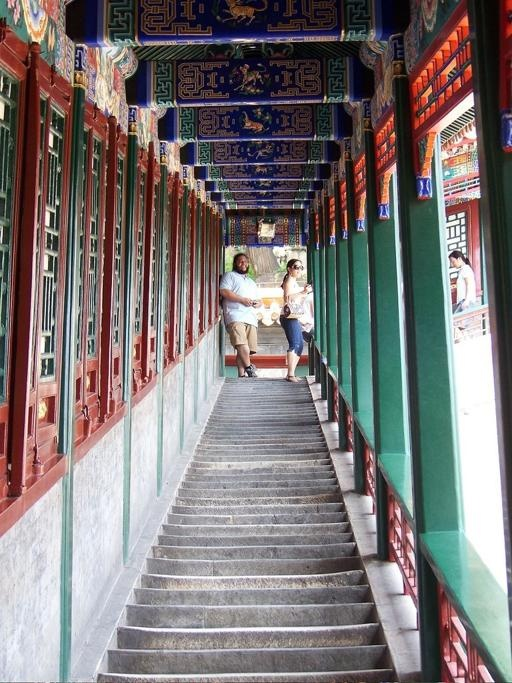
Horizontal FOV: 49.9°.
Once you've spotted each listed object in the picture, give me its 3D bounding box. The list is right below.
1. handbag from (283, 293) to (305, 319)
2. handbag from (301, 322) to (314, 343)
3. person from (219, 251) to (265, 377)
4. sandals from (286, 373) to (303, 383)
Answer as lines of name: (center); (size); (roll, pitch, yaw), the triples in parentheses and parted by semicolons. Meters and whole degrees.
handbag: (0.519, -0.487, 7.697); (0.267, 0.534, 0.178); (9, -13, -41)
handbag: (0.903, -0.157, 9.382); (0.200, 0.383, 0.127); (6, -15, -24)
person: (-0.232, -0.373, 8.157); (0.582, 1.875, 0.730); (-1, 2, -2)
sandals: (0.559, 0.520, 7.830); (0.197, 0.109, 0.461); (0, 3, 21)
